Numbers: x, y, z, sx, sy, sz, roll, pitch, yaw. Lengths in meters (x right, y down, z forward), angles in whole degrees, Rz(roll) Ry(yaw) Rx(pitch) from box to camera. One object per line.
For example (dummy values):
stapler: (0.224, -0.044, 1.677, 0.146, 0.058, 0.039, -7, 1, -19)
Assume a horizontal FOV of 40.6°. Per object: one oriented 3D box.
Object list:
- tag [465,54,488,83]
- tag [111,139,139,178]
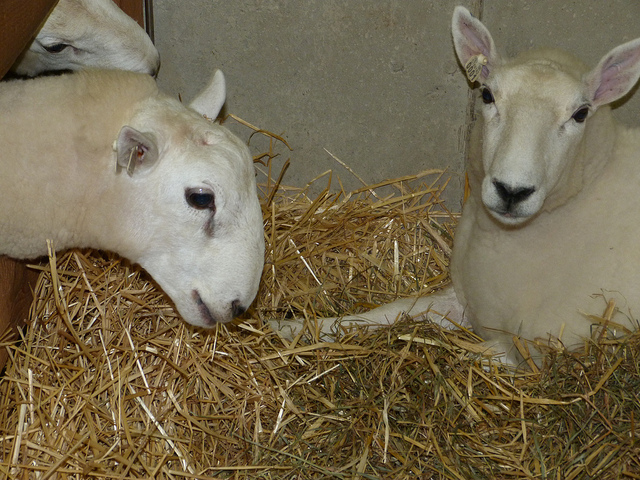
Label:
tag: (0.829, -0.908, 4.579, 0.116, 0.121, 0.050, -35, 4, 27)
tag: (-0.930, -0.388, 4.209, 0.117, 0.188, 0.153, 0, -9, 0)
